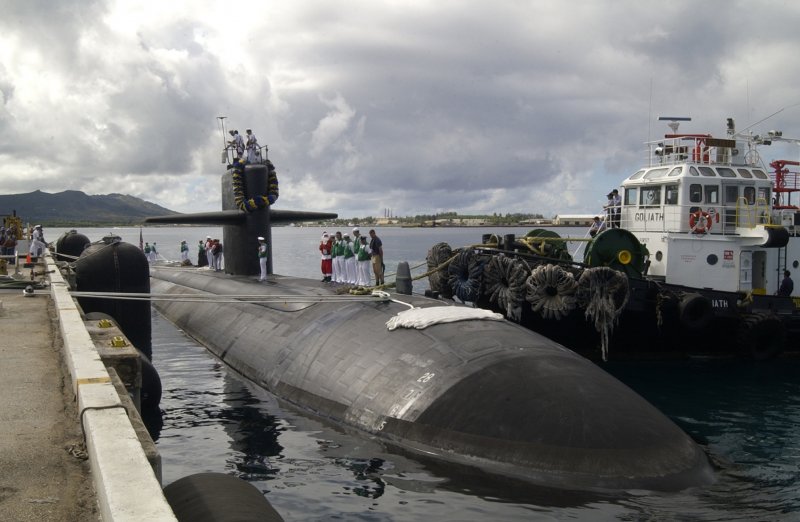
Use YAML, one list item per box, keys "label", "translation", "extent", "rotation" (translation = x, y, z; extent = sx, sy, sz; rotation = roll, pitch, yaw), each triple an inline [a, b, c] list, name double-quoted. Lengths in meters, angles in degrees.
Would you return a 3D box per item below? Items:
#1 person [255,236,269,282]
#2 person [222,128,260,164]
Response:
- label: "person"
  translation: [-4.353, -0.107, 20.171]
  extent: [0.323, 1.315, 0.988]
  rotation: [0, 7, -13]
- label: "person"
  translation: [-4.708, -3.476, 19.395]
  extent: [0.887, 1.000, 1.987]
  rotation: [0, 6, -12]
